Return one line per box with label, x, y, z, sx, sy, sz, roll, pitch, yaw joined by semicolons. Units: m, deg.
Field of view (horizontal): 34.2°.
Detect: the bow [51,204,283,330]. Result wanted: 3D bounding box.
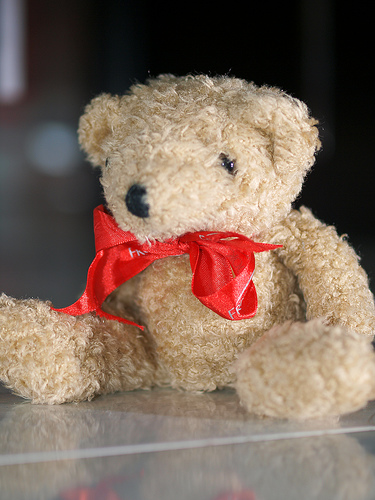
bow;-0.017;0.017;0.807;0.329;0.090;0.225;-5;29;-10
